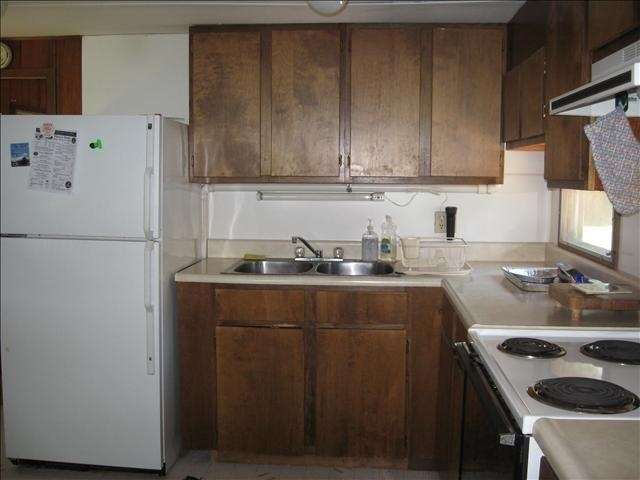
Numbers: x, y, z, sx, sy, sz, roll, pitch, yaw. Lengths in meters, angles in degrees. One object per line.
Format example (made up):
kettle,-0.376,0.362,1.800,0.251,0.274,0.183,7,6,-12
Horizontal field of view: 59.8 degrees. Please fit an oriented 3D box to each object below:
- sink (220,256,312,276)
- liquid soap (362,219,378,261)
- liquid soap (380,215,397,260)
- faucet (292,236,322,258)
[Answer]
sink,-0.340,0.182,3.606,0.586,0.091,0.283,-2,5,-22
liquid soap,0.327,0.023,3.578,0.103,0.229,0.078,-1,4,-14
liquid soap,0.452,-0.010,3.643,0.113,0.292,0.226,0,4,7
faucet,-0.100,0.054,3.664,0.218,0.137,0.224,1,4,10
